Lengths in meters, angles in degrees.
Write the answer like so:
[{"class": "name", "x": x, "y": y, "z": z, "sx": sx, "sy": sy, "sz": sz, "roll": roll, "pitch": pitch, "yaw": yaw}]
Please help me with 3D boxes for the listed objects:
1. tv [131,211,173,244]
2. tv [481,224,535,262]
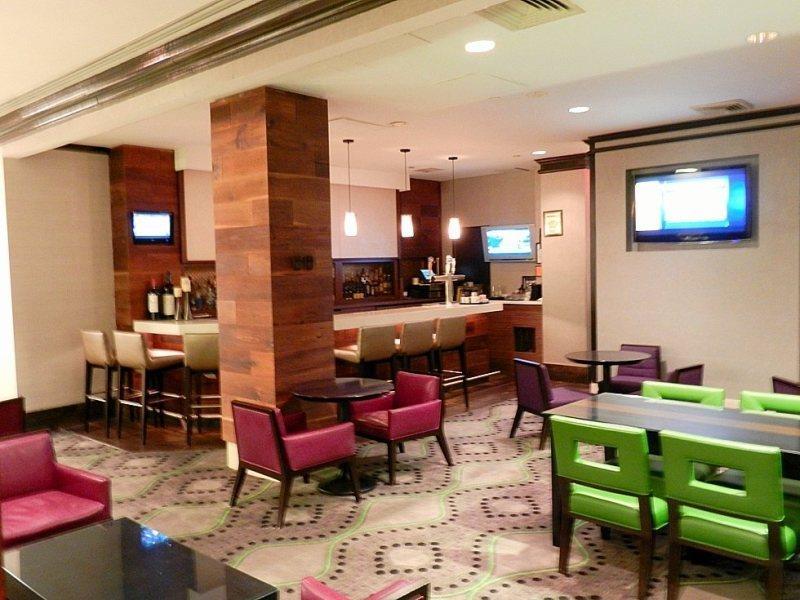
[{"class": "tv", "x": -3.273, "y": -0.960, "z": 8.222, "sx": 0.531, "sy": 0.375, "sz": 0.177, "roll": 2, "pitch": -7, "yaw": -34}, {"class": "tv", "x": 1.997, "y": -1.058, "z": 11.604, "sx": 0.186, "sy": 0.643, "sz": 1.035, "roll": -11, "pitch": 12, "yaw": -43}]
